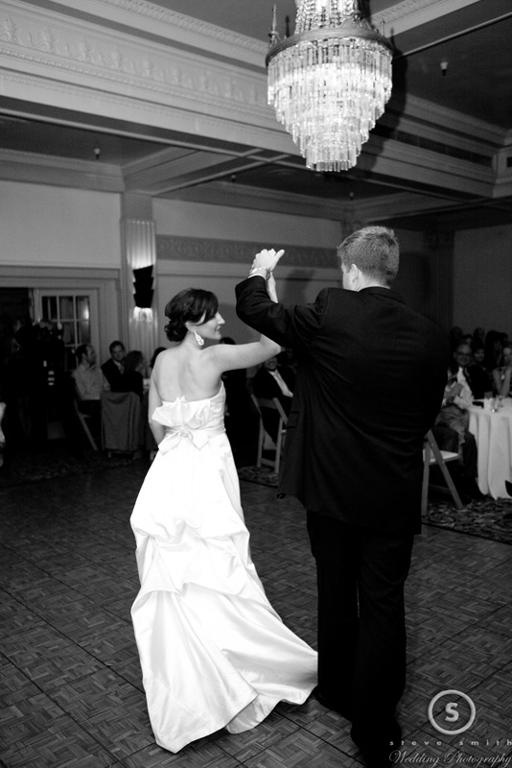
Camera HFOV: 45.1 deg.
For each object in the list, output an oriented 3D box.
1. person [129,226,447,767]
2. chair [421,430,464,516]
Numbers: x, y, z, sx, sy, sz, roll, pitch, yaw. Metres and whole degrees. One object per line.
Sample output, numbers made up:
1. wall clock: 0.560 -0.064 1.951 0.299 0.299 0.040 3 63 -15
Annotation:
1. person: 0.242 0.351 1.673 0.440 1.441 0.419 2 4 44
2. chair: 1.413 0.621 4.698 0.346 0.608 0.353 -5 -7 11
